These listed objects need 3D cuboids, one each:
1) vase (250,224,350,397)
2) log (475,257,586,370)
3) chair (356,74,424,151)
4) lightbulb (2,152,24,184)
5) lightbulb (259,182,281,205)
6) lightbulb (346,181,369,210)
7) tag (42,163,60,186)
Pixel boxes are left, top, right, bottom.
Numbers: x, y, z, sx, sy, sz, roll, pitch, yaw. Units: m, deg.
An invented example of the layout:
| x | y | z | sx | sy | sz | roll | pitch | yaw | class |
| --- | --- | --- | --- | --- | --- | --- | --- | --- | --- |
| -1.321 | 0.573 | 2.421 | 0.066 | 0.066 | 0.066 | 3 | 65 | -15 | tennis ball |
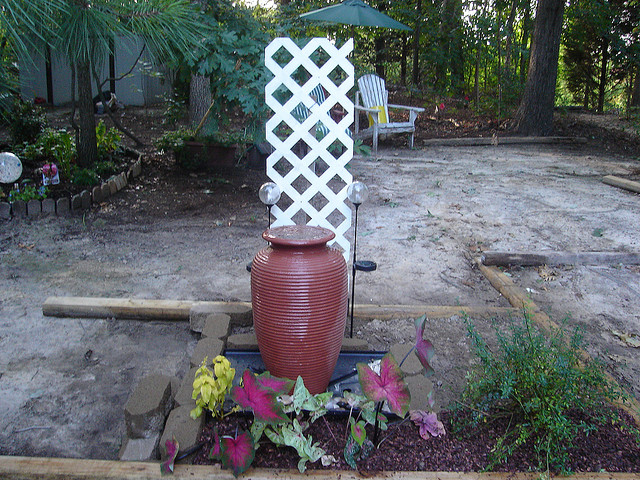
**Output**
| x | y | z | sx | sy | sz | roll | pitch | yaw | class |
| --- | --- | --- | --- | --- | --- | --- | --- | --- | --- |
| -0.112 | 0.409 | 2.656 | 0.521 | 0.858 | 0.291 | -1 | 16 | -10 | vase |
| 1.394 | 0.440 | 3.398 | 0.184 | 0.121 | 1.922 | 0 | 12 | -5 | log |
| 1.193 | -2.405 | 9.113 | 0.928 | 1.427 | 1.297 | -7 | 17 | -23 | chair |
| -3.408 | -0.784 | 5.291 | 0.195 | 0.346 | 0.179 | -12 | 22 | -39 | lightbulb |
| -0.314 | -0.314 | 3.003 | 0.117 | 0.193 | 0.117 | -12 | 21 | -41 | lightbulb |
| 0.245 | -0.293 | 3.181 | 0.124 | 0.210 | 0.223 | 3 | 17 | 2 | lightbulb |
| -3.055 | -0.739 | 5.449 | 0.164 | 0.239 | 0.199 | -9 | 20 | -32 | tag |
